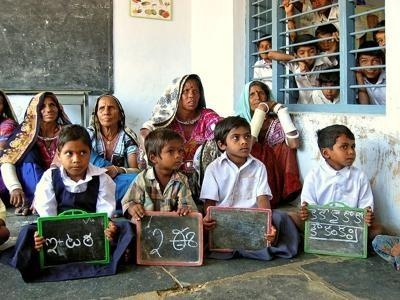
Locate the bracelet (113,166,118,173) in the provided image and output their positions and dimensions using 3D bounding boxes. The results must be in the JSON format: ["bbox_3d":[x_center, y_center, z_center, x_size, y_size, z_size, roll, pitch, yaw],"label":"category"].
[{"bbox_3d":[-0.744,0.180,3.282,0.042,0.027,0.054,18,2,3],"label":"bracelet"}]

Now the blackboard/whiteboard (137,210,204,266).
[{"bbox_3d":[-0.207,0.595,2.472,0.387,0.289,0.030,1,-16,-3],"label":"blackboard/whiteboard"}]

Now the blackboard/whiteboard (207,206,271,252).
[{"bbox_3d":[0.278,0.561,2.596,0.331,0.220,0.016,1,0,7],"label":"blackboard/whiteboard"}]

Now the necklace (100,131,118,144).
[{"bbox_3d":[-0.854,-0.108,3.512,0.103,0.097,0.025,-2,-29,-17],"label":"necklace"}]

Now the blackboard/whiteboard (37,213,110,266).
[{"bbox_3d":[-0.806,0.574,2.356,0.349,0.264,0.014,-1,-11,-13],"label":"blackboard/whiteboard"}]

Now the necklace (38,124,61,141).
[{"bbox_3d":[-1.433,-0.170,3.534,0.155,0.198,0.081,3,1,-14],"label":"necklace"}]

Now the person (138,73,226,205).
[{"bbox_3d":[-0.137,-0.106,3.516,0.879,1.183,0.828,-1,7,-4],"label":"person"}]

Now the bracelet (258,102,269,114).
[{"bbox_3d":[0.603,-0.384,3.531,0.064,0.099,0.075,-42,21,-17],"label":"bracelet"}]
